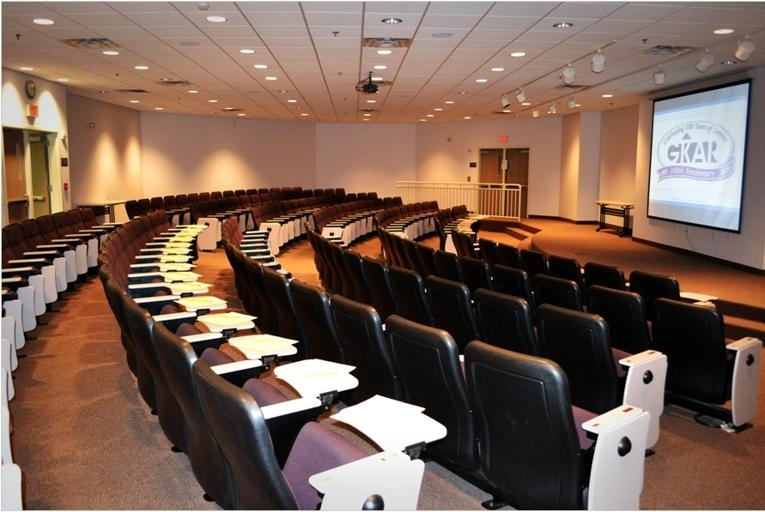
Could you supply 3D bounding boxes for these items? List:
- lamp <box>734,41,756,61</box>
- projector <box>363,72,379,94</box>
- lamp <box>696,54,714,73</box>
[{"bbox_3d":[5.231,-2.952,7.000,0.174,0.283,0.383,6,13,38],"label":"lamp"},{"bbox_3d":[-0.230,-3.600,10.245,0.339,0.356,0.329,0,3,7],"label":"projector"},{"bbox_3d":[5.223,-3.128,7.867,0.175,0.287,0.381,6,12,35],"label":"lamp"}]
